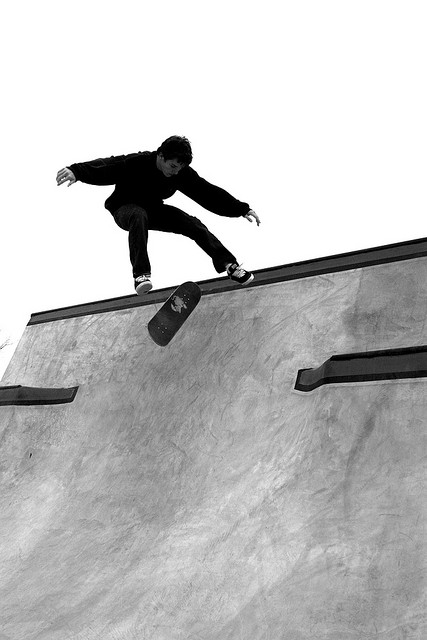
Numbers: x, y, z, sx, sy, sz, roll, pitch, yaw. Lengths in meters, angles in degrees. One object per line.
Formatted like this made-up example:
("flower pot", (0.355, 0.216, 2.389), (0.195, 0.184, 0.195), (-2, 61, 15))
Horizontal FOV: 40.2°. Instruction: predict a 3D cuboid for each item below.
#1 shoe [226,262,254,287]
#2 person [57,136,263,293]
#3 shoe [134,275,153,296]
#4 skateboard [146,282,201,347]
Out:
("shoe", (0.241, -0.433, 5.335), (0.217, 0.176, 0.111), (-11, 3, 2))
("person", (-0.538, -0.885, 5.384), (1.682, 1.628, 0.982), (-1, -17, -15))
("shoe", (-0.600, -0.309, 4.950), (0.144, 0.151, 0.273), (-11, 3, -8))
("skateboard", (-0.368, -0.109, 5.628), (0.119, 0.321, 0.869), (-21, 28, 52))
